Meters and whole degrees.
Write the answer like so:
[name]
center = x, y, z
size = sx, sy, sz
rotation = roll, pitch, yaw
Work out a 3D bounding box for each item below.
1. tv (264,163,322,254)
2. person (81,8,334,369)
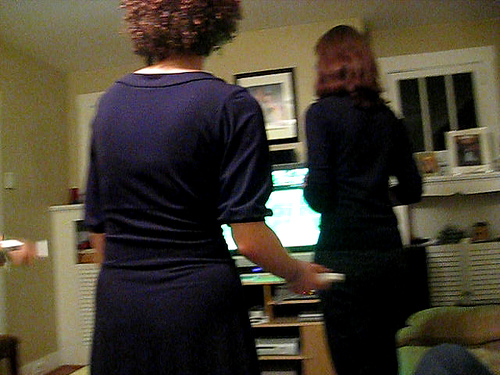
[tv]
center = 0.194, 0.073, 2.554
size = 0.293, 0.375, 0.038
rotation = 0, -8, -35
[person]
center = -0.143, 0.008, 1.285
size = 0.545, 0.858, 0.192
rotation = -4, -3, 9
